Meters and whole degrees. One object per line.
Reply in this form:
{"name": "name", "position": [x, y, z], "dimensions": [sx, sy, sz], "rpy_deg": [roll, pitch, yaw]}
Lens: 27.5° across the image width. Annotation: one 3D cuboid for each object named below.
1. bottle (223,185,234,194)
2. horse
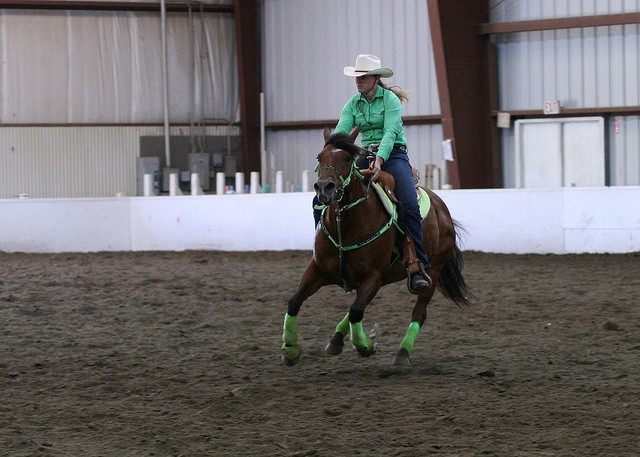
{"name": "bottle", "position": [-2.383, -1.024, 33.971], "dimensions": [0.242, 0.258, 0.233], "rpy_deg": [0, -2, -7]}
{"name": "horse", "position": [0.998, 0.283, 23.844], "dimensions": [3.258, 4.287, 1.314], "rpy_deg": [-8, 8, -39]}
